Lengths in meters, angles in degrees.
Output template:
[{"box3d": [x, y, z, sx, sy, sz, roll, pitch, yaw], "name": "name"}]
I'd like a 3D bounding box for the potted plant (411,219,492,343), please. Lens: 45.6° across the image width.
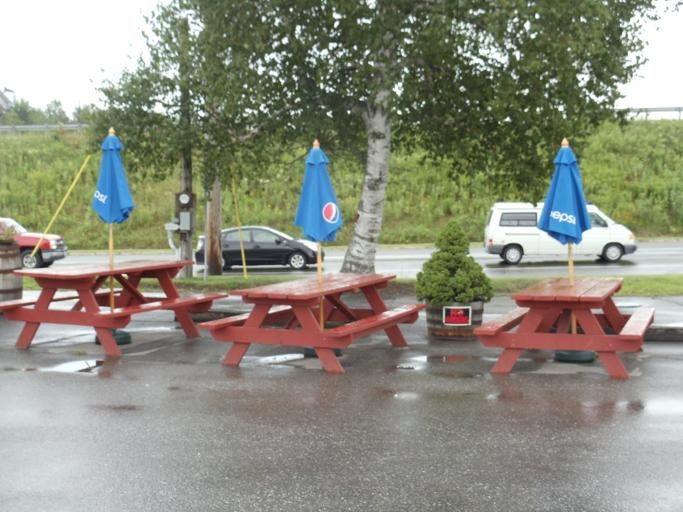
[{"box3d": [1.949, 0.409, 14.315, 1.282, 1.951, 0.804, 0, 11, 5], "name": "potted plant"}]
